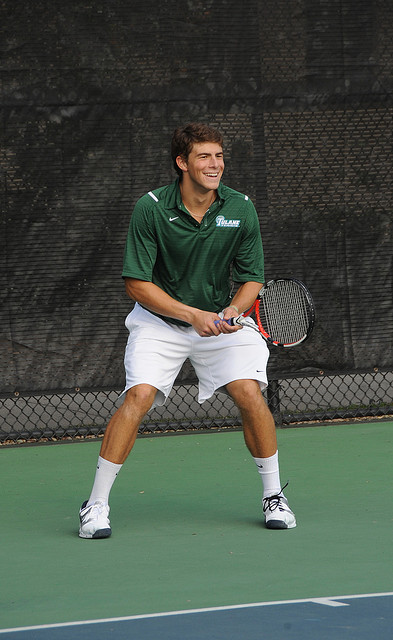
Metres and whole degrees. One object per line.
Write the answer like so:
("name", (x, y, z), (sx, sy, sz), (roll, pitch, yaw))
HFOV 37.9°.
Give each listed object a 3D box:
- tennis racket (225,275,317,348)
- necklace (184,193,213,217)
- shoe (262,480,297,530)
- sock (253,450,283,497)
("tennis racket", (0.357, -0.041, 2.736), (0.431, 0.177, 0.043), (-10, -8, -12))
("necklace", (0.009, -0.410, 2.075), (0.112, 0.067, 0.048), (-3, 15, -13))
("shoe", (0.305, 0.670, 2.093), (0.108, 0.124, 0.298), (-9, -5, 9))
("sock", (0.269, 0.545, 2.081), (0.103, 0.263, 0.090), (-7, 30, 14))
